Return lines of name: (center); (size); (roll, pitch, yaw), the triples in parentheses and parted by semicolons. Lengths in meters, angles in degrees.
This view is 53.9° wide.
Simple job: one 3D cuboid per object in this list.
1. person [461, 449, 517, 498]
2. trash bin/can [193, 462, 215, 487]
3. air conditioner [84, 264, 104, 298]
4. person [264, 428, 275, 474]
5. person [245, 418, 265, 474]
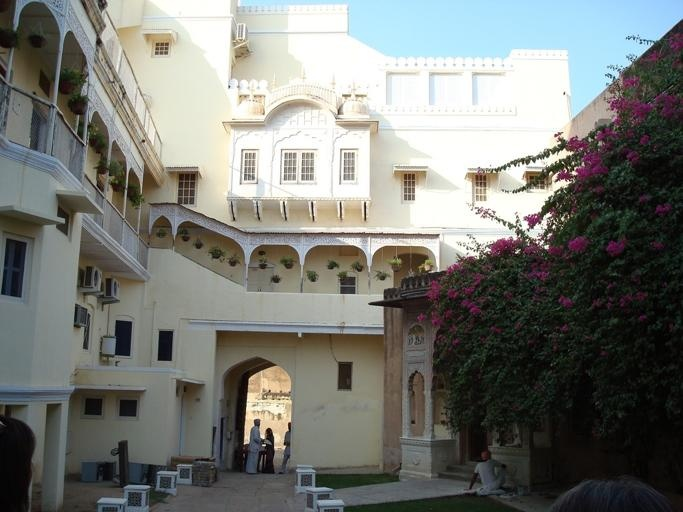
person: (3.798, 5.617, 17.427); (1.054, 1.123, 1.550); (-3, -18, 14)
trash bin/can: (-3.886, 6.119, 18.836); (0.444, 0.444, 0.641); (-1, -11, 2)
air conditioner: (-7.343, 0.721, 19.798); (0.469, 0.729, 0.937); (6, -18, -16)
person: (-2.686, 7.207, 24.892); (0.415, 1.602, 1.006); (2, -17, -5)
person: (-3.174, 6.906, 24.354); (0.512, 1.891, 0.964); (3, -17, -7)
